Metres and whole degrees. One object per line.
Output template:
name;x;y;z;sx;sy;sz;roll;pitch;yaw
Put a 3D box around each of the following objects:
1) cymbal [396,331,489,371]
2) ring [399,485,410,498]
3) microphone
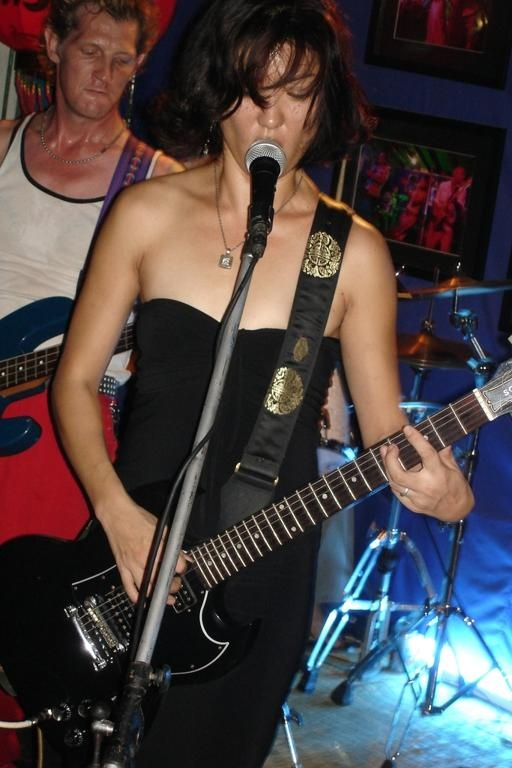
cymbal;0.778;-0.148;2.781;0.226;0.052;0.227;23;35;26
ring;0.263;0.192;1.110;0.014;0.019;0.005;3;11;28
microphone;0.024;-0.270;0.901;0.060;0.054;0.197;-4;50;12
